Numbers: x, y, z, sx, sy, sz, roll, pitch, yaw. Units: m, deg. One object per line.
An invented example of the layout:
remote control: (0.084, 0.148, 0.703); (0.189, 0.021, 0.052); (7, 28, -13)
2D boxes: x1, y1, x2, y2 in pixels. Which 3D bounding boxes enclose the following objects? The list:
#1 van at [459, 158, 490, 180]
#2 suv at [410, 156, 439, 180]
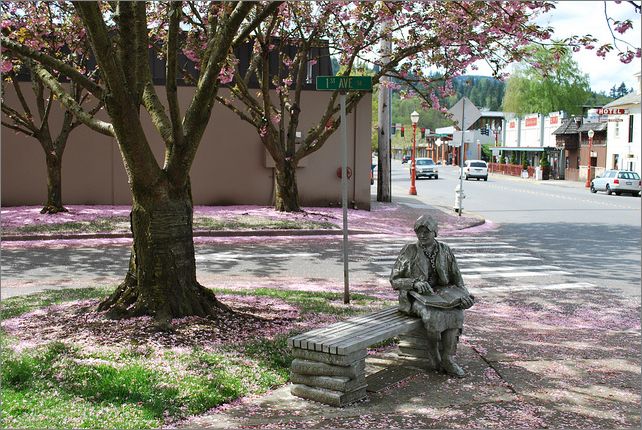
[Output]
van: (15.217, -4.290, 59.558); (1.993, 1.920, 2.185); (-1, 4, 4)
suv: (10.186, -4.566, 59.581); (1.710, 1.538, 3.127); (-1, 0, -6)
